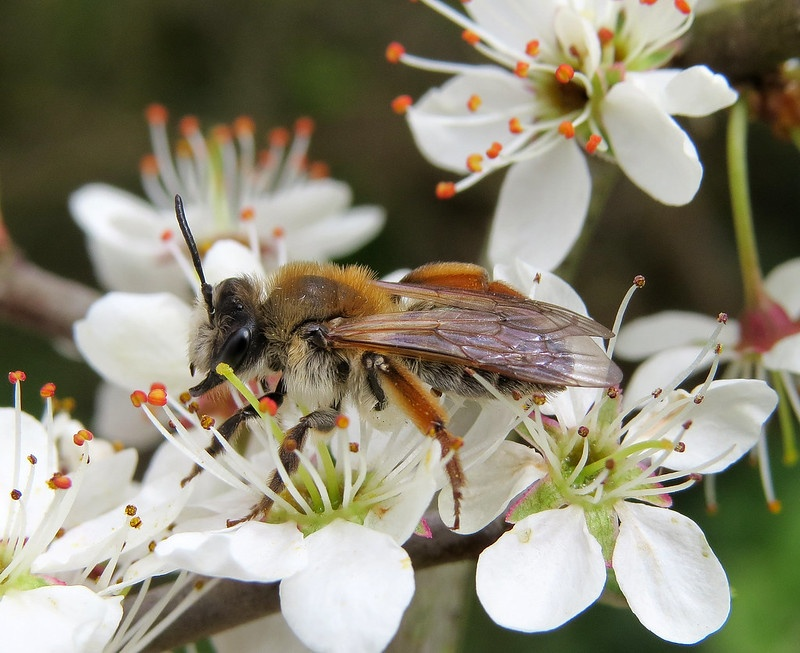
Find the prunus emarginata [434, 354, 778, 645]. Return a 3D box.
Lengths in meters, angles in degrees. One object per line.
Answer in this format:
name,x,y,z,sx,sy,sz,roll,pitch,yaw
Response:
prunus emarginata,0.249,0.257,1.046,0.364,0.126,0.300,-19,34,8
